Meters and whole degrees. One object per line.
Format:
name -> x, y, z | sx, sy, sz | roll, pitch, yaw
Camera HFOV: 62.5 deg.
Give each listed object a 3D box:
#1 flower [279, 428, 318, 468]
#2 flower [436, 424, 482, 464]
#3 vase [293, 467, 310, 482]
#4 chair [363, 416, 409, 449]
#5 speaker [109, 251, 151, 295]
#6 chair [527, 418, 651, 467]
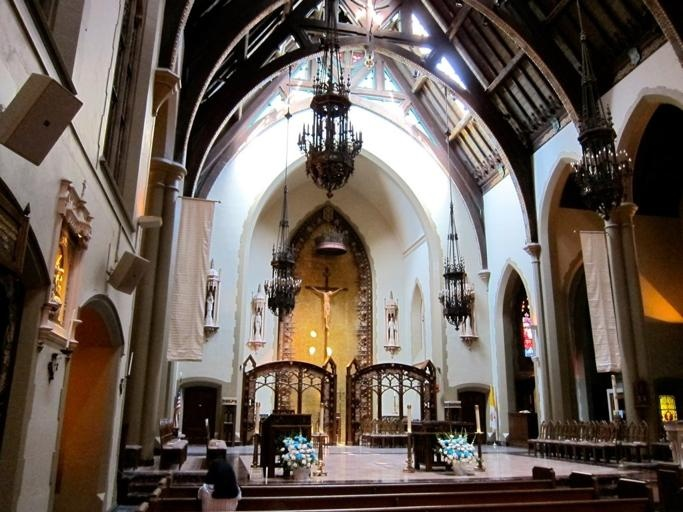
flower -> -0.769, 3.447, 9.941 | 0.636, 0.611, 0.621 | 1, -20, 0
flower -> 2.345, 3.838, 11.359 | 0.736, 0.670, 1.098 | -15, -26, 38
vase -> -0.685, 3.840, 9.942 | 0.325, 0.259, 0.203 | -2, -37, -2
chair -> 1.313, 5.436, 17.460 | 1.360, 1.048, 1.833 | 2, -21, -3
speaker -> -3.114, 0.257, 8.279 | 0.267, 0.560, 0.528 | 21, -27, 2
chair -> 5.777, 4.247, 13.045 | 1.383, 1.057, 3.484 | 7, -22, -15
